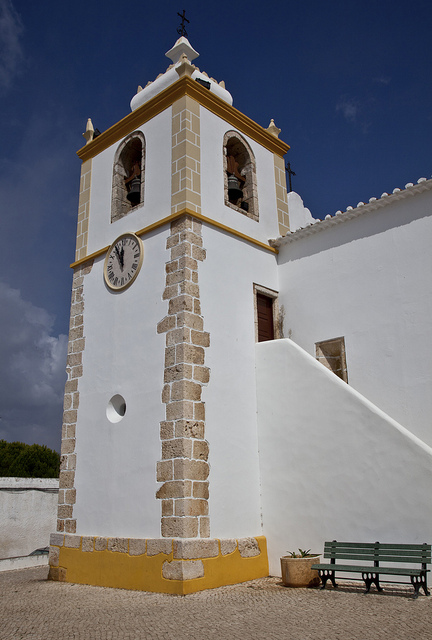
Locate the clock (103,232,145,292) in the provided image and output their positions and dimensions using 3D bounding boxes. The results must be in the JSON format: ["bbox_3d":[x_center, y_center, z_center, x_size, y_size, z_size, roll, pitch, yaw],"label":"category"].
[{"bbox_3d":[-1.577,-0.982,8.886,0.125,1.040,1.060,20,-30,-40],"label":"clock"}]

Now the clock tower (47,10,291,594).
[{"bbox_3d":[-0.740,0.011,9.081,3.003,8.234,2.534,-20,-30,39],"label":"clock tower"}]

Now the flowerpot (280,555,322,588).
[{"bbox_3d":[1.054,3.133,6.530,0.386,0.295,0.388,10,-20,-28],"label":"flowerpot"}]
